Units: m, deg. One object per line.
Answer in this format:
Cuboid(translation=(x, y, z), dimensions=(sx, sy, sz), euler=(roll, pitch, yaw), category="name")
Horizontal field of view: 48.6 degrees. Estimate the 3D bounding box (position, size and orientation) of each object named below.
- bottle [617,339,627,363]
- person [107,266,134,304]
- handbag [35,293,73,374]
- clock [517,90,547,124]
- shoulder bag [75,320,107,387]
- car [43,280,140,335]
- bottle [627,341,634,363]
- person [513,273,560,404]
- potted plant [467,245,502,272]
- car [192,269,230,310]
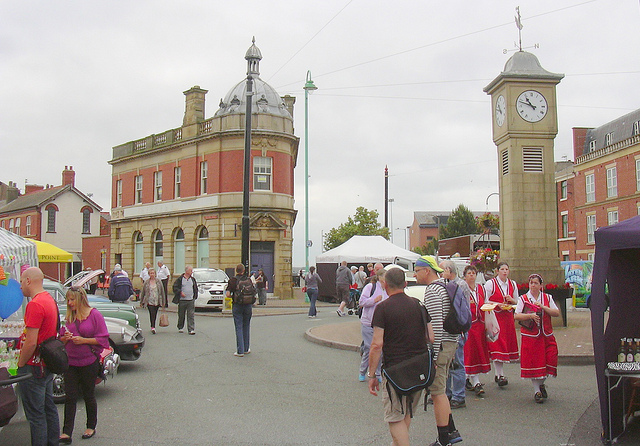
Cuboid(translation=(5.032, 2.130, 11.812), dimensions=(0.154, 0.362, 0.581), euler=(-4, -7, 23), category="bottle")
Cuboid(translation=(-6.280, 2.254, 22.160), dimensions=(0.744, 1.667, 0.572), euler=(-5, 16, -34), category="person")
Cuboid(translation=(-4.276, 1.781, 11.453), dimensions=(0.453, 1.224, 1.181), euler=(0, -6, -11), category="handbag")
Cuboid(translation=(6.322, -3.434, 21.237), dimensions=(0.962, 1.025, 0.111), euler=(0, -4, 3), category="clock")
Cuboid(translation=(-3.944, 2.307, 12.594), dimensions=(0.371, 1.013, 0.617), euler=(-22, -12, 2), category="shoulder bag")
Cuboid(translation=(-5.499, 2.155, 16.405), dimensions=(2.492, 1.191, 1.476), euler=(0, -1, -6), category="car")
Cuboid(translation=(5.160, 2.144, 11.781), dimensions=(0.104, 0.309, 0.446), euler=(-4, -7, 23), category="bottle")
Cuboid(translation=(4.071, 2.164, 13.356), dimensions=(0.810, 2.371, 0.476), euler=(-1, -6, 0), category="person")
Cuboid(translation=(5.083, 1.115, 21.881), dimensions=(0.932, 0.859, 0.966), euler=(-1, 2, 2), category="potted plant")
Cuboid(translation=(-4.369, 2.651, 28.706), dimensions=(1.549, 1.406, 2.747), euler=(0, -5, -21), category="car")
